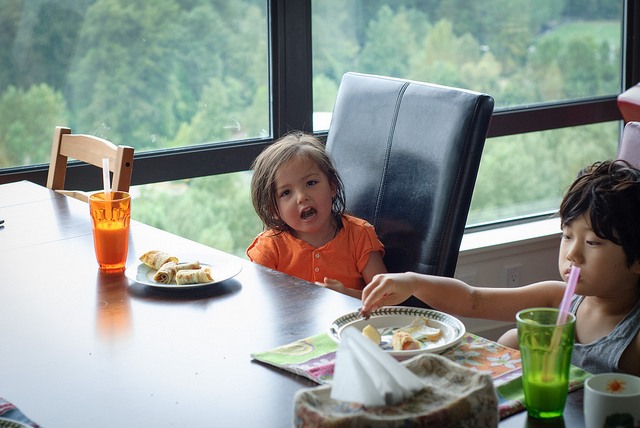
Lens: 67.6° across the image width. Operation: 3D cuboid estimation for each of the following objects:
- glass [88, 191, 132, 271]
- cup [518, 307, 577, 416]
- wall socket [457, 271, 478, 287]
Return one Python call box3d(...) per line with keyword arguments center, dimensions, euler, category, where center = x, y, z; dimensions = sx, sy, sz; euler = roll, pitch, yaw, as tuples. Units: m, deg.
box3d(center=(-0.513, 0.036, 1.181), dimensions=(0.095, 0.156, 0.095), euler=(-1, 5, -10), category="glass")
box3d(center=(0.316, 0.211, 0.693), dimensions=(0.070, 0.140, 0.091), euler=(4, 7, 25), category="cup")
box3d(center=(0.672, 0.303, 2.227), dimensions=(0.123, 0.070, 0.026), euler=(-3, 8, -31), category="wall socket")
